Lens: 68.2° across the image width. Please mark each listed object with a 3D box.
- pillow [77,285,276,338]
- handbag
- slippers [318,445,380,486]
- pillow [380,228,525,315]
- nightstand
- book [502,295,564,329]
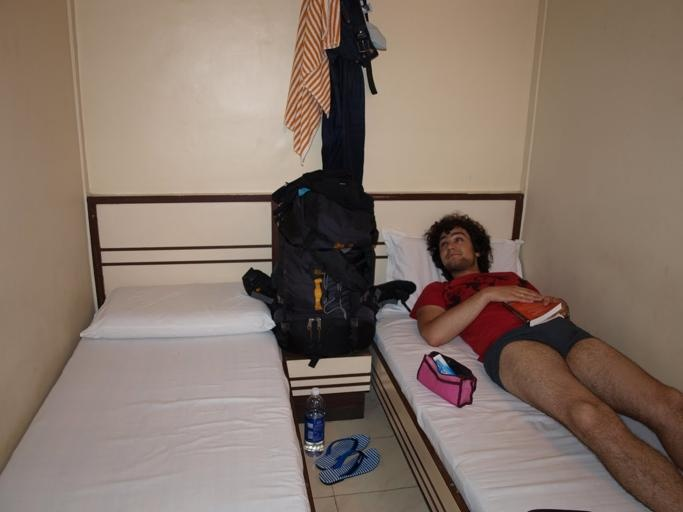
[{"bbox_3d":[-0.975,0.346,3.010,0.753,0.140,0.486,-2,22,-14],"label":"pillow"},{"bbox_3d":[0.535,0.643,2.601,0.208,0.134,0.280,16,15,-43],"label":"handbag"},{"bbox_3d":[0.051,1.162,2.764,0.296,0.057,0.141,-12,21,-30],"label":"slippers"},{"bbox_3d":[0.773,0.022,3.387,0.784,0.584,0.214,-1,7,0],"label":"pillow"},{"bbox_3d":[-0.076,0.759,3.183,0.490,0.468,0.295,0,25,-7],"label":"nightstand"},{"bbox_3d":[1.078,0.297,2.747,0.169,0.050,0.179,-18,32,-22],"label":"book"}]
